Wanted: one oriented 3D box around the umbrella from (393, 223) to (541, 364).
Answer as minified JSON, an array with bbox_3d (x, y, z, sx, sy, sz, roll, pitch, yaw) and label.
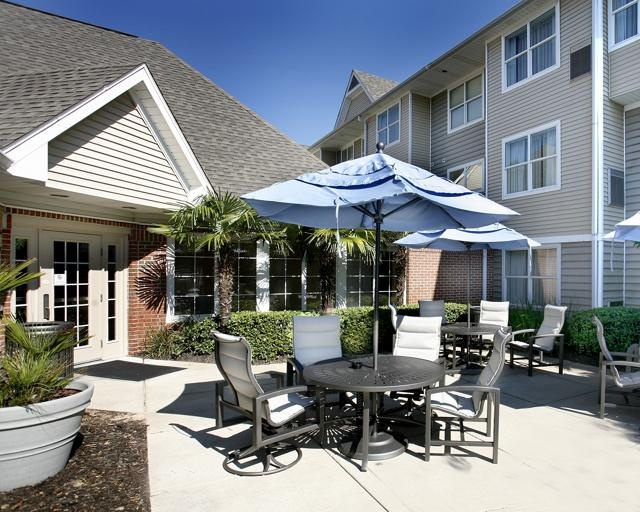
[{"bbox_3d":[3.689,0.524,13.326,3.772,1.911,2.923,1,4,3],"label":"umbrella"}]
